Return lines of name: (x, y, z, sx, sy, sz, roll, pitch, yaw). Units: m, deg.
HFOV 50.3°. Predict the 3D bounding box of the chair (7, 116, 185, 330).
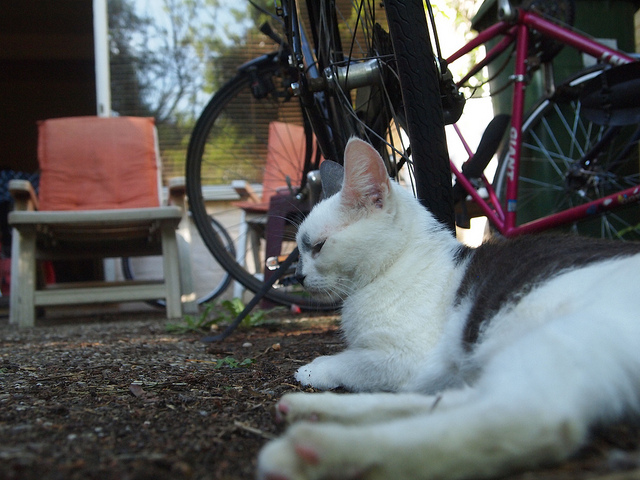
chair: (-1.808, -0.209, 5.316, 1.144, 1.850, 1.594, -1, 6, -10)
